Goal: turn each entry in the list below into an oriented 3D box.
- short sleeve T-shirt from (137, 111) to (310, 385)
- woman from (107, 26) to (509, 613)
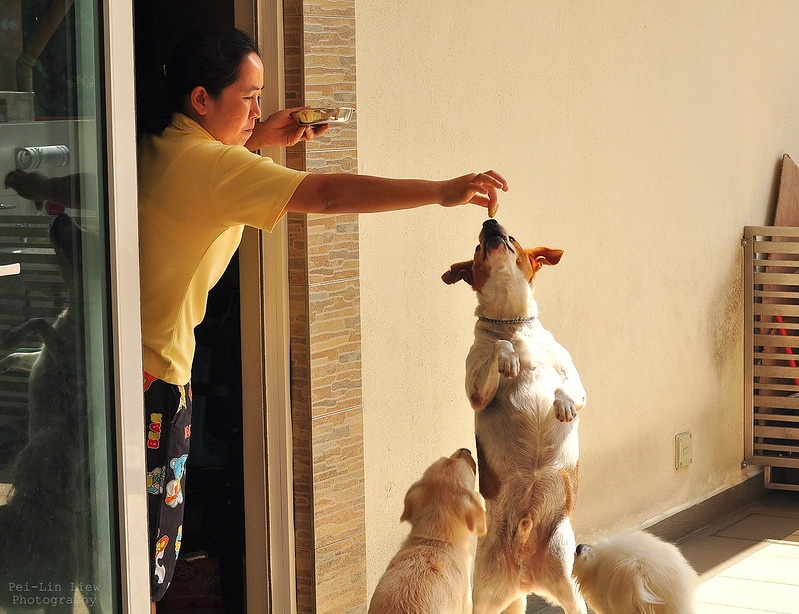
[{"bbox_3d":[-0.576,-0.217,3.678,0.392,0.800,0.709,4,19,-36],"label":"short sleeve T-shirt"},{"bbox_3d":[-0.583,-0.138,4.683,1.478,3.241,1.451,3,6,-28],"label":"woman"}]
